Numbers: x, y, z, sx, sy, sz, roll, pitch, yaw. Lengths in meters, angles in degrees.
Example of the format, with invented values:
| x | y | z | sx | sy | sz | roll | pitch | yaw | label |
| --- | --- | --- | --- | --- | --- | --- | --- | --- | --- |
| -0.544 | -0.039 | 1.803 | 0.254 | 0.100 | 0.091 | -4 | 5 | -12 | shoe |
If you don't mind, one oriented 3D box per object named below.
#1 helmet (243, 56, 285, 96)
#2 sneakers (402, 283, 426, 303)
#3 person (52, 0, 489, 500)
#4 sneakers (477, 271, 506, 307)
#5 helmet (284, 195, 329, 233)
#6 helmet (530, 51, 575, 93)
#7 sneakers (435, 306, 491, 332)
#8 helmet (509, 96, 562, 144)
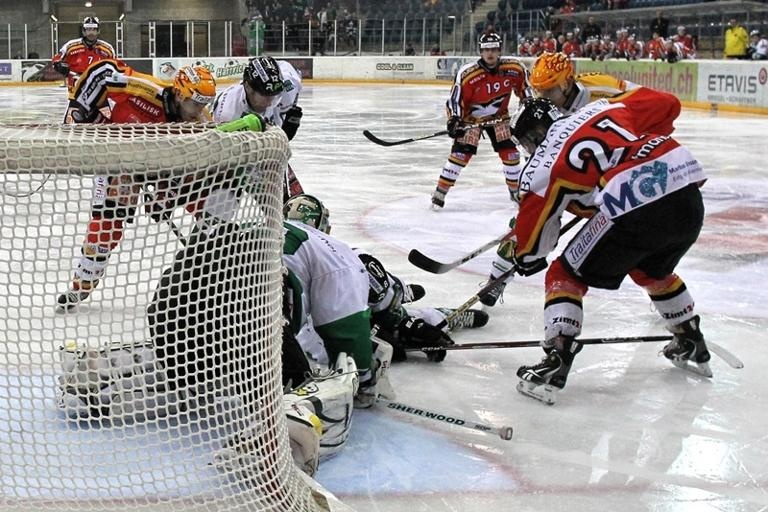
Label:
| x | y | z | sx | sy | sz | roll | pitch | yaw | label |
| --- | --- | --- | --- | --- | --- | --- | --- | --- | --- |
| -0.636 | -0.971 | 4.190 | 0.190 | 0.181 | 0.243 | -8 | 49 | -22 | helmet |
| 0.150 | 0.180 | 3.783 | 0.067 | 0.052 | 0.152 | -19 | -2 | 10 | sneakers |
| -0.347 | 0.165 | 2.531 | 1.392 | 1.200 | 0.876 | -4 | 14 | -24 | person |
| 0.552 | 0.165 | 3.856 | 0.094 | 0.123 | 0.296 | 30 | -7 | 8 | sneakers |
| -0.318 | -0.198 | 3.211 | 0.192 | 0.174 | 0.154 | 9 | 31 | -13 | helmet |
| 0.894 | -0.975 | 4.027 | 0.217 | 0.205 | 0.252 | 4 | 13 | 11 | helmet |
| 0.360 | 0.312 | 3.762 | 0.321 | 0.097 | 0.143 | -3 | -5 | 0 | sneakers |
| 0.664 | -0.599 | 3.321 | 0.189 | 0.087 | 0.185 | -34 | 29 | 18 | helmet |
